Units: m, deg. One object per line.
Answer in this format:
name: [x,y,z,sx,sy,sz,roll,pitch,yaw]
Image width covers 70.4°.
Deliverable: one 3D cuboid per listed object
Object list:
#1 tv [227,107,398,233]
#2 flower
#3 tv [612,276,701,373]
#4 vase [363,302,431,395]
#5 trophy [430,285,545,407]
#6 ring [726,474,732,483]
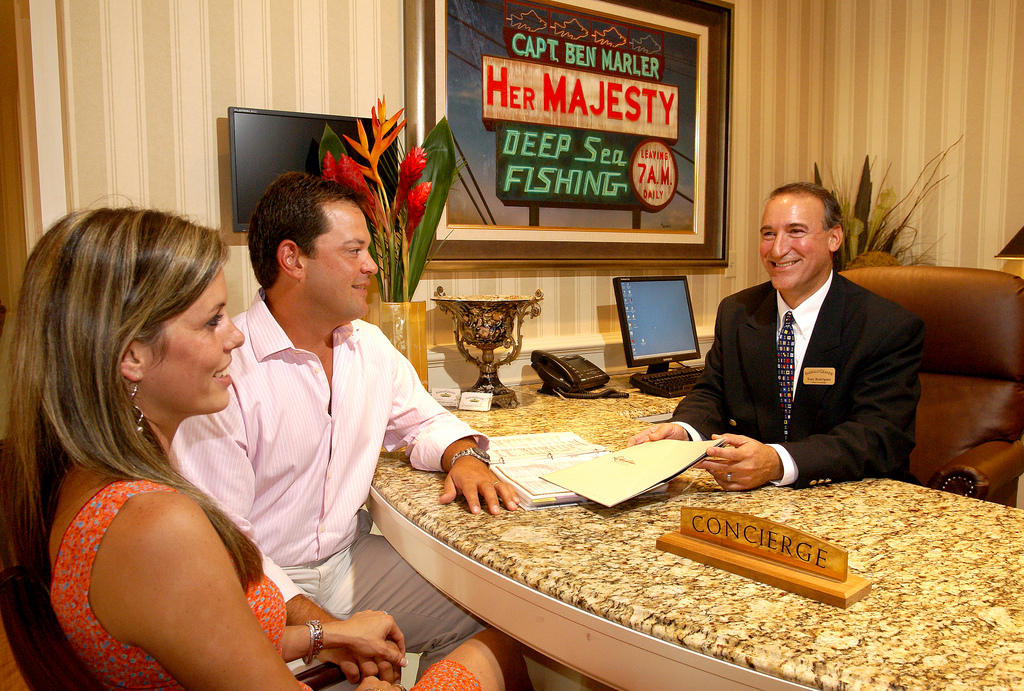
tv: [-0.769,-0.703,2.919,0.671,0.454,0.024,-5,15,-31]
flower: [-0.492,-0.573,2.863,0.502,0.852,0.306,-6,15,-45]
tv: [0.696,-0.121,3.490,0.522,0.437,0.096,-5,-3,-39]
vase: [-0.427,-0.001,2.822,0.200,0.335,0.130,-7,17,-39]
trophy: [-0.080,-0.043,3.117,0.519,0.570,0.463,0,5,1]
ring: [0.585,0.360,1.948,0.015,0.019,0.016,-4,10,1]
